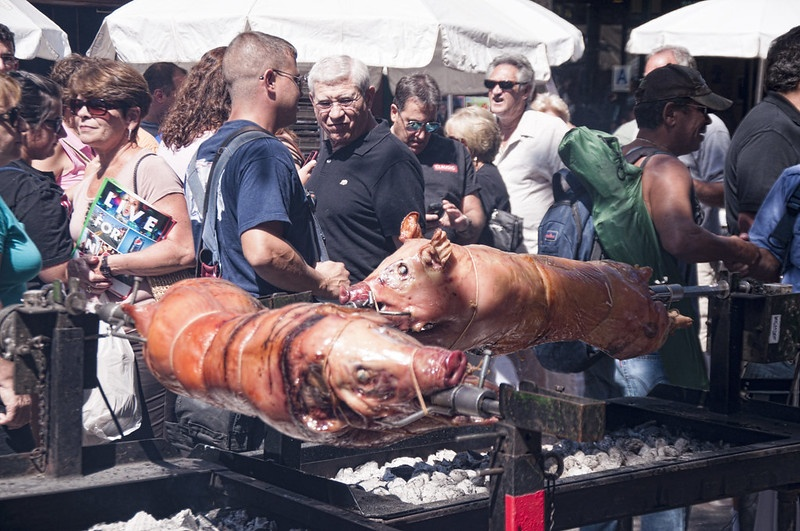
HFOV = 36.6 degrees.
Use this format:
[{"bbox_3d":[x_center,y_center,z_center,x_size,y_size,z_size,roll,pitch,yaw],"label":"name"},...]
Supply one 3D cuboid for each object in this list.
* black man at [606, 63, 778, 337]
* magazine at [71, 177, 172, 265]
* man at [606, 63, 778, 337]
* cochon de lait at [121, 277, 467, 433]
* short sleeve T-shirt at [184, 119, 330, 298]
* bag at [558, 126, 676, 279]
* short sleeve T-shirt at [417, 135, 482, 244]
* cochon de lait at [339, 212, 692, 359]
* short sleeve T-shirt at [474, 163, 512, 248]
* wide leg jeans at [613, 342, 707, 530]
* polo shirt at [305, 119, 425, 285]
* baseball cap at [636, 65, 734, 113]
[{"bbox_3d":[1.862,-0.526,7.758,0.913,1.551,1.131,-6,18,-6],"label":"black man"},{"bbox_3d":[-1.650,-0.227,7.226,0.547,0.574,0.119,21,45,21],"label":"magazine"},{"bbox_3d":[1.885,-0.504,7.749,0.895,1.586,1.139,-7,16,-4],"label":"man"},{"bbox_3d":[-0.509,0.412,5.686,1.813,0.629,0.596,6,30,20],"label":"cochon de lait"},{"bbox_3d":[-0.849,-0.295,6.903,0.510,0.903,0.914,-11,14,-33],"label":"short sleeve T-shirt"},{"bbox_3d":[1.160,-0.367,7.602,0.670,1.036,1.134,4,4,39],"label":"bag"},{"bbox_3d":[0.358,-0.550,8.892,0.521,0.690,0.258,-3,-8,-5],"label":"short sleeve T-shirt"},{"bbox_3d":[0.652,0.159,6.286,1.991,0.670,0.562,3,2,-30],"label":"cochon de lait"},{"bbox_3d":[0.725,-0.473,8.890,0.182,0.512,0.375,0,-22,10],"label":"short sleeve T-shirt"},{"bbox_3d":[1.539,1.076,7.464,0.246,0.906,0.941,0,-1,-38],"label":"wide leg jeans"},{"bbox_3d":[-0.221,-0.359,7.374,0.825,0.918,0.483,13,27,43],"label":"polo shirt"},{"bbox_3d":[1.810,-1.126,7.686,0.643,0.315,0.417,0,7,14],"label":"baseball cap"}]
